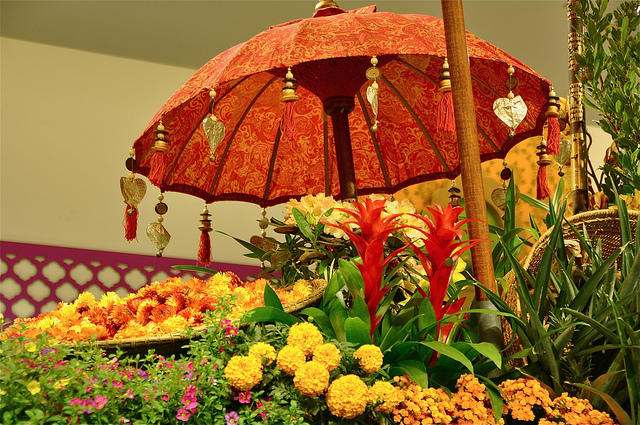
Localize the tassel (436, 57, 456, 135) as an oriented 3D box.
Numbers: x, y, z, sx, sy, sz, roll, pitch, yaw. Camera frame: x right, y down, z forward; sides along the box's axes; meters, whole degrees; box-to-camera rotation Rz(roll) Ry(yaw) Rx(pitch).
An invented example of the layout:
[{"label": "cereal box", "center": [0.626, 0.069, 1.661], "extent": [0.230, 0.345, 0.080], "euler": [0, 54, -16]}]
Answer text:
[{"label": "tassel", "center": [0.360, -0.336, 2.210], "extent": [0.057, 0.204, 0.060], "euler": [-13, 14, -35]}]

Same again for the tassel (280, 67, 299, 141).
[{"label": "tassel", "center": [-0.083, -0.310, 2.213], "extent": [0.052, 0.196, 0.051], "euler": [-4, 4, -16]}]

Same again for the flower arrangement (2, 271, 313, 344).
[{"label": "flower arrangement", "center": [-0.426, 0.206, 2.053], "extent": [0.549, 0.146, 0.764], "euler": [-5, 1, 34]}]

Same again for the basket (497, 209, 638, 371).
[{"label": "basket", "center": [0.658, 0.198, 2.005], "extent": [0.381, 0.428, 0.248], "euler": [-6, -31, 12]}]

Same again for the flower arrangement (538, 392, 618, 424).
[{"label": "flower arrangement", "center": [0.624, 0.475, 1.872], "extent": [0.186, 0.072, 0.073], "euler": [-6, -30, 11]}]

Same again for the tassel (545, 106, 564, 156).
[{"label": "tassel", "center": [0.700, -0.242, 2.325], "extent": [0.054, 0.126, 0.113], "euler": [-9, -31, 17]}]

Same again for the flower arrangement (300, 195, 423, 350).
[{"label": "flower arrangement", "center": [0.122, 0.162, 1.954], "extent": [0.236, 0.396, 0.193], "euler": [3, -5, -15]}]

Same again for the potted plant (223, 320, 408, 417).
[{"label": "potted plant", "center": [-0.017, 0.387, 1.816], "extent": [0.333, 0.240, 0.128], "euler": [-8, -46, -15]}]

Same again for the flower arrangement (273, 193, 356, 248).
[{"label": "flower arrangement", "center": [-0.017, 0.011, 2.152], "extent": [0.216, 0.146, 0.167], "euler": [-4, 2, -6]}]

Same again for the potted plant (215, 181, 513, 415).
[{"label": "potted plant", "center": [0.145, 0.240, 2.076], "extent": [0.787, 0.491, 0.764], "euler": [0, 11, 31]}]
